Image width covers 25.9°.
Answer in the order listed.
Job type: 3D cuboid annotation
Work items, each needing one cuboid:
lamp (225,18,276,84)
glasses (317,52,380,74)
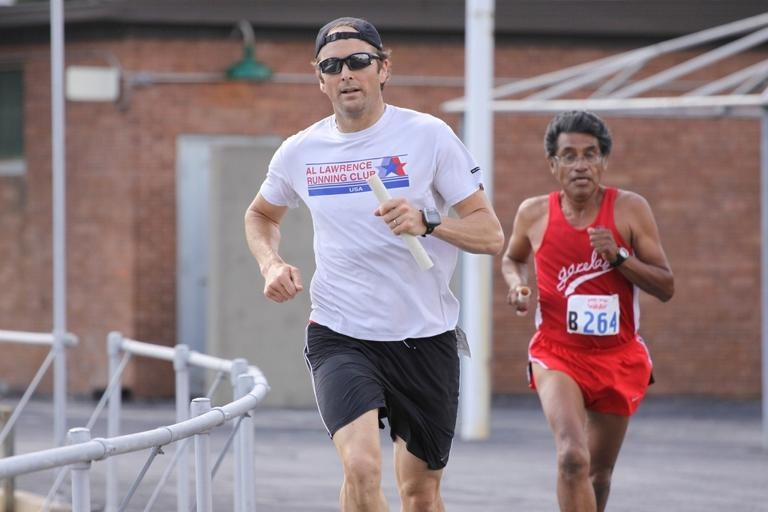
[{"bbox_3d":[-1.372,-2.064,17.121,0.544,0.618,0.549,-9,0,6],"label":"lamp"},{"bbox_3d":[-0.227,-1.301,11.124,0.423,0.143,0.087,-1,1,-2],"label":"glasses"}]
